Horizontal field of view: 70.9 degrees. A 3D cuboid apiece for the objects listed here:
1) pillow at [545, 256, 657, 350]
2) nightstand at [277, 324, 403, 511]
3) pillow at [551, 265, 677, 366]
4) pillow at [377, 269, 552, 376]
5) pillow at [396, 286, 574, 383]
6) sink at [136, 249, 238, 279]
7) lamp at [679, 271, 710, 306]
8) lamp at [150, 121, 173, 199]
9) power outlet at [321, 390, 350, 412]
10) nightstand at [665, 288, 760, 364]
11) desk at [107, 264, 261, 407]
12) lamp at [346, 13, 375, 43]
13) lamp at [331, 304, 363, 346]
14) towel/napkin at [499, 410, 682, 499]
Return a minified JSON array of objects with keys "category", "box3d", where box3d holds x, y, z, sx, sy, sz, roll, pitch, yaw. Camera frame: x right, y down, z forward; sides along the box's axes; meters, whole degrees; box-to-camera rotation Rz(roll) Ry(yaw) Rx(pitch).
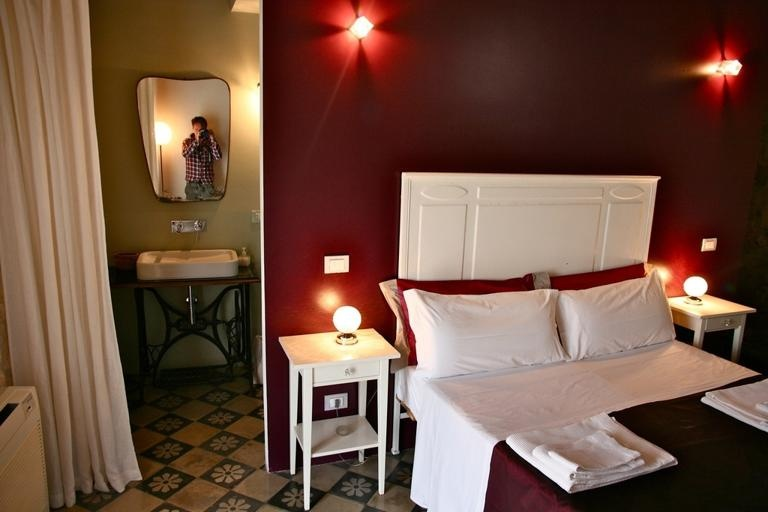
[{"category":"pillow","box3d":[1.549,0.367,3.924,0.663,0.400,0.159,-3,-17,-24]},{"category":"nightstand","box3d":[-0.278,1.053,3.612,0.741,1.002,0.509,-4,12,-15]},{"category":"pillow","box3d":[1.625,0.447,3.908,0.676,0.379,0.134,-5,-18,-21]},{"category":"pillow","box3d":[0.516,0.470,3.625,0.718,0.452,0.100,-6,-6,-11]},{"category":"pillow","box3d":[0.671,0.484,3.631,0.979,0.519,0.302,-3,12,-12]},{"category":"sink","box3d":[-1.584,0.064,4.425,0.751,0.190,0.473,-5,12,-19]},{"category":"lamp","box3d":[2.573,0.262,4.549,0.234,0.320,0.231,-9,11,-24]},{"category":"lamp","box3d":[-1.802,-0.824,4.493,0.137,0.581,0.054,-6,13,-22]},{"category":"power outlet","box3d":[-0.346,1.006,3.769,0.168,0.117,0.024,-2,7,-26]},{"category":"nightstand","box3d":[2.580,0.516,4.580,0.599,0.706,0.613,-5,11,-20]},{"category":"desk","box3d":[-1.635,0.650,4.658,1.125,1.001,0.507,-4,4,9]},{"category":"lamp","box3d":[-0.148,-1.498,3.522,0.167,0.164,0.103,-1,12,-1]},{"category":"lamp","box3d":[-0.215,0.456,3.693,0.233,0.276,0.230,2,9,8]},{"category":"towel/napkin","box3d":[1.052,1.021,2.833,0.496,0.072,0.358,-7,15,-24]}]
